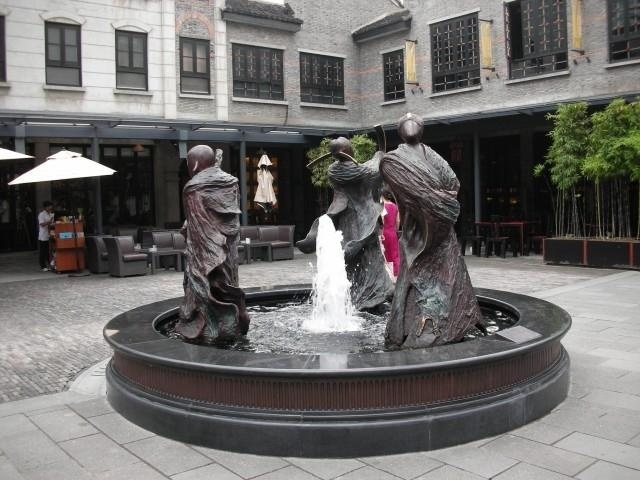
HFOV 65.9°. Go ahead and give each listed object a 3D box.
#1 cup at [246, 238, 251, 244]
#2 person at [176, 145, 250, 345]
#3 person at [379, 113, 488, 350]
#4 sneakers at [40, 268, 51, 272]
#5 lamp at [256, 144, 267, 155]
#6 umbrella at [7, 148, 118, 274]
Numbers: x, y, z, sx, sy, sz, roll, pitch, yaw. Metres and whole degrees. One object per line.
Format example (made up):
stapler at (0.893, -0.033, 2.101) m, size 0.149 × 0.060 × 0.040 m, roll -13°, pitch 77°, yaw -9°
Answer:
cup at (-2.356, 0.012, 16.148) m, size 0.169 × 0.201 × 0.175 m, roll 0°, pitch -1°, yaw 0°
person at (-1.184, 0.152, 5.401) m, size 0.768 × 1.888 × 0.489 m, roll -3°, pitch 5°, yaw -16°
person at (1.079, -0.089, 4.924) m, size 0.726 × 2.351 × 0.717 m, roll -5°, pitch 6°, yaw -39°
sneakers at (-8.443, 0.898, 15.229) m, size 0.302 × 0.137 × 0.134 m, roll 3°, pitch 1°, yaw 9°
lamp at (-2.574, -4.110, 22.495) m, size 0.413 × 0.471 × 0.715 m, roll -2°, pitch 4°, yaw -11°
umbrella at (-7.642, -0.524, 15.084) m, size 3.514 × 3.987 × 3.752 m, roll -1°, pitch 1°, yaw -33°
